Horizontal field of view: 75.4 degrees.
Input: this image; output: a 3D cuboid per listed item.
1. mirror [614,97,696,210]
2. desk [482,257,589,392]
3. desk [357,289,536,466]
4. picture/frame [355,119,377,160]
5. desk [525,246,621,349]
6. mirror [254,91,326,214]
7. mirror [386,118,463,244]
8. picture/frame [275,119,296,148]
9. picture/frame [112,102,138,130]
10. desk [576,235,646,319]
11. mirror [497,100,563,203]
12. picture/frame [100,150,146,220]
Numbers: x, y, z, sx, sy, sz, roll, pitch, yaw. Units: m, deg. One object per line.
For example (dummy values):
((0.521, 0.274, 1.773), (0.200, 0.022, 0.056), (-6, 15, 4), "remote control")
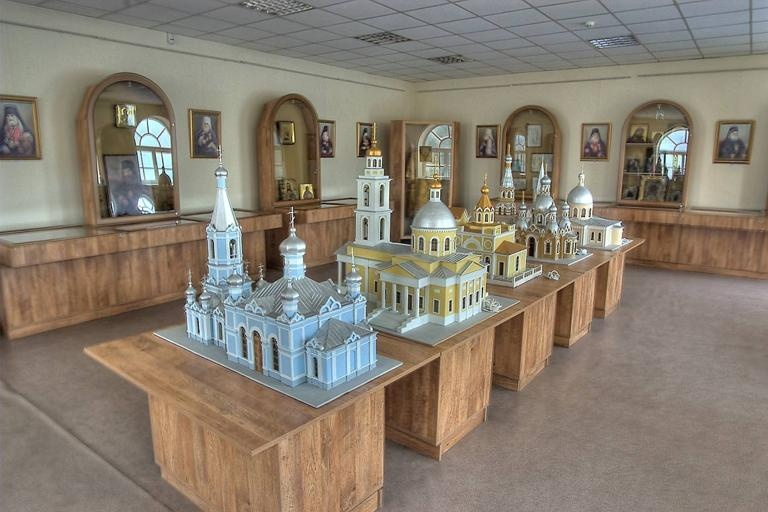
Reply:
((7.091, -2.662, 13.023), (1.623, 2.818, 0.343), (7, 29, 29), "mirror")
((2.333, 1.094, 7.730), (0.603, 0.903, 1.906), (12, 17, 41), "desk")
((0.801, 1.639, 6.576), (1.652, 1.486, 2.130), (7, 12, 37), "desk")
((-0.562, -3.490, 14.952), (0.242, 1.049, 0.637), (9, 16, 35), "picture/frame")
((3.255, 0.721, 8.644), (0.538, 0.805, 1.702), (13, 20, 43), "desk")
((-2.276, -2.453, 12.387), (0.559, 2.965, 1.724), (10, 15, 43), "mirror")
((1.274, -2.326, 15.279), (2.184, 3.580, 1.126), (-2, 13, -4), "mirror")
((-2.430, -3.042, 12.333), (0.083, 0.567, 0.603), (11, 17, 41), "picture/frame")
((-5.038, -2.709, 9.608), (0.090, 0.657, 0.589), (5, 6, 43), "picture/frame")
((4.316, 0.237, 10.222), (2.536, 1.196, 1.354), (-11, 16, -42), "desk")
((4.322, -3.032, 14.579), (1.731, 2.698, 0.631), (4, 14, 20), "mirror")
((-5.063, -1.389, 9.697), (0.681, 1.191, 0.062), (-4, 5, -3), "picture/frame")
